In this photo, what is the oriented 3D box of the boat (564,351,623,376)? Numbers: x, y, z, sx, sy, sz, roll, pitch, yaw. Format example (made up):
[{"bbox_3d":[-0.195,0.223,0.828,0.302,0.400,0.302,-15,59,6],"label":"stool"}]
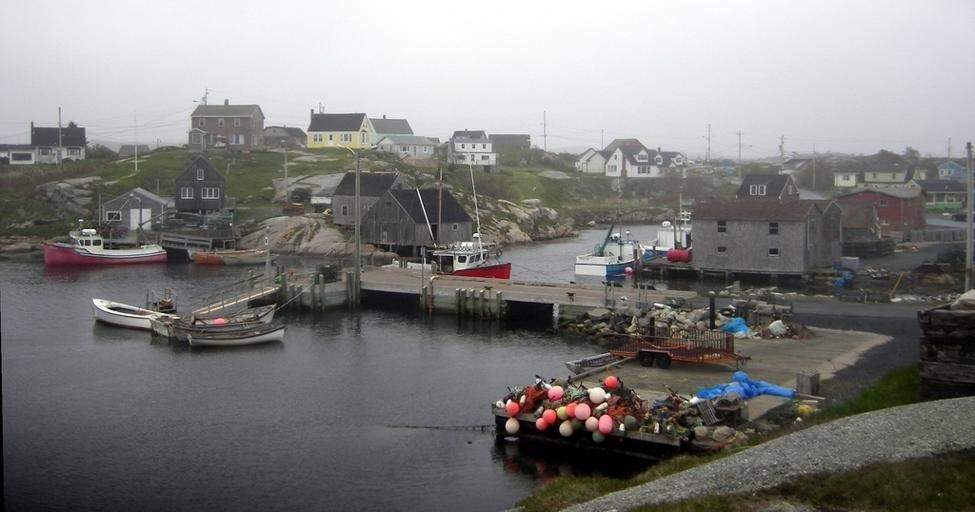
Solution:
[{"bbox_3d":[6.433,6.368,51.934,3.782,0.442,1.209,-9,16,-38],"label":"boat"}]

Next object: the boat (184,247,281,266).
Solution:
[{"bbox_3d":[-25.157,0.112,86.945,6.942,1.314,1.994,-2,6,-8],"label":"boat"}]

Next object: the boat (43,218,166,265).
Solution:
[{"bbox_3d":[-37.138,-0.894,86.090,9.993,3.399,4.385,-4,6,-24],"label":"boat"}]

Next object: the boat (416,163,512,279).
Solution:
[{"bbox_3d":[-2.002,-4.903,96.893,7.633,9.333,56.946,-1,5,0],"label":"boat"}]
